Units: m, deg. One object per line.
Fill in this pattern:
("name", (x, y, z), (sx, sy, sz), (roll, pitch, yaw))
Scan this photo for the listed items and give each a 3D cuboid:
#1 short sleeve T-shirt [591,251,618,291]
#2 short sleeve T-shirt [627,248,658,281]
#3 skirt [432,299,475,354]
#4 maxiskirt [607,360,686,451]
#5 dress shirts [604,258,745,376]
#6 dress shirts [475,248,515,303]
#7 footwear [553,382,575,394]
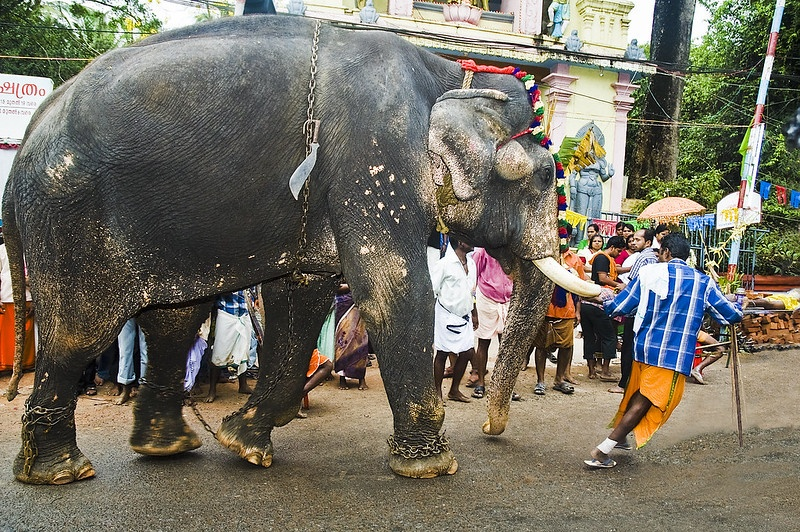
("short sleeve T-shirt", (2.460, 0.003, 8.528), (0.298, 0.388, 0.400), (1, 5, 12))
("short sleeve T-shirt", (2.300, -0.016, 6.645), (0.390, 0.299, 0.136), (11, 2, 30))
("skirt", (0.534, 0.570, 7.318), (0.368, 0.621, 0.530), (0, 0, 43))
("maxiskirt", (1.983, 1.097, 5.593), (0.481, 0.696, 0.361), (3, 8, 15))
("dress shirts", (2.267, 0.403, 5.667), (0.479, 0.842, 1.214), (9, -2, -44))
("dress shirts", (1.126, 0.100, 7.794), (0.612, 0.548, 0.325), (-10, 42, -7))
("footwear", (1.819, 1.341, 7.772), (0.107, 0.065, 0.190), (-1, 3, -39))
